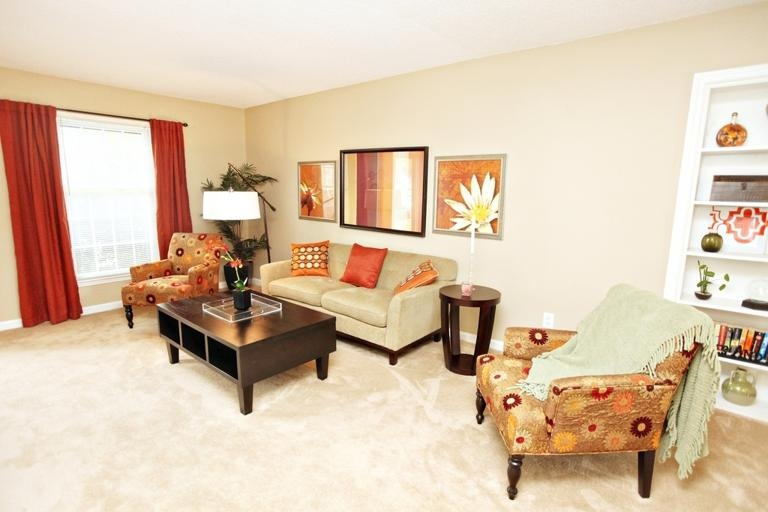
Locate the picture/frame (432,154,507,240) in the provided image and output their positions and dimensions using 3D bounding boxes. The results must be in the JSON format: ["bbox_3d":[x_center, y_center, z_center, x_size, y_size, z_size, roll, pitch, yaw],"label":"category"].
[{"bbox_3d":[0.979,-0.668,5.500,0.943,0.980,0.068,10,18,32],"label":"picture/frame"}]

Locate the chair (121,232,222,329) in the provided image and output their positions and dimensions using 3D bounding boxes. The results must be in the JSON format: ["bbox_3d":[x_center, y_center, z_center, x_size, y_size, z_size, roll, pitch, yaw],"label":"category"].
[{"bbox_3d":[-2.536,0.270,6.178,0.879,0.997,1.009,3,10,21],"label":"chair"}]

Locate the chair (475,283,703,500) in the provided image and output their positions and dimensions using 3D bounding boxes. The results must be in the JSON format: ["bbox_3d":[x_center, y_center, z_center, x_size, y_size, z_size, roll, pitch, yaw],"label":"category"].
[{"bbox_3d":[1.646,1.068,4.158,1.895,1.311,1.579,3,14,18],"label":"chair"}]

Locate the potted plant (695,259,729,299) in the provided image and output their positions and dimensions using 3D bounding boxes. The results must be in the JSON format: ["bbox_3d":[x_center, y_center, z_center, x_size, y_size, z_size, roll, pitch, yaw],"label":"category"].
[{"bbox_3d":[2.999,0.211,4.600,0.348,0.333,0.322,7,7,41],"label":"potted plant"}]

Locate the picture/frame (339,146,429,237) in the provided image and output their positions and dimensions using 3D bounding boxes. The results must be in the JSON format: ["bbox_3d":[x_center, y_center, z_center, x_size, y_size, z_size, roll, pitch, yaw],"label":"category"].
[{"bbox_3d":[0.043,-0.808,6.113,1.182,0.903,0.047,8,13,32],"label":"picture/frame"}]
